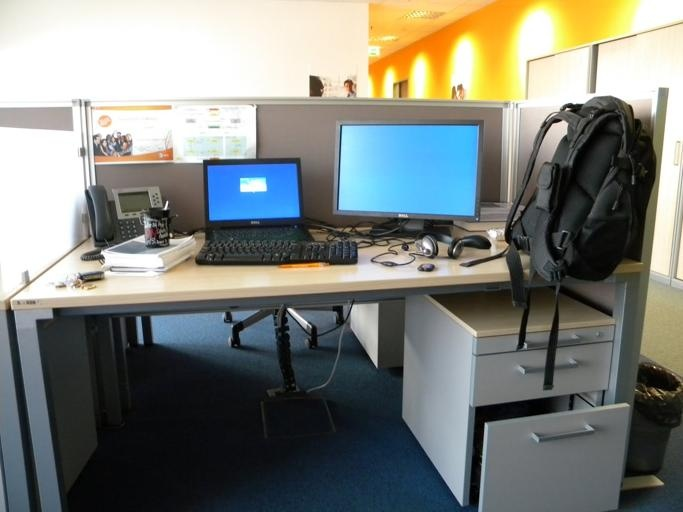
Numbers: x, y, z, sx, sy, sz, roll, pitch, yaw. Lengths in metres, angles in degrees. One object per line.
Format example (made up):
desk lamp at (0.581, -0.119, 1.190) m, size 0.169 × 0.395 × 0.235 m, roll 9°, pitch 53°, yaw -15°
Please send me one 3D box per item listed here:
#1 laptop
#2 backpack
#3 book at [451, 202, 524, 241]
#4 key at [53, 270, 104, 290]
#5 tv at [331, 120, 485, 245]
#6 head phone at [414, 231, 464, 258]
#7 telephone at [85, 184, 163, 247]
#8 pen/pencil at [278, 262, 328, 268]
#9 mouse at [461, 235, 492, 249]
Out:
laptop at (-0.341, -0.211, 2.299) m, size 0.461 × 0.311 × 0.371 m, roll -5°, pitch 26°, yaw -21°
backpack at (0.851, -0.225, 1.985) m, size 0.385 × 0.638 × 0.498 m, roll 9°, pitch 13°, yaw 2°
book at (0.665, -0.150, 2.503) m, size 0.209 × 0.089 × 0.240 m, roll -2°, pitch 21°, yaw 2°
key at (-0.874, 0.077, 1.840) m, size 0.165 × 0.036 × 0.104 m, roll -17°, pitch 21°, yaw -39°
tv at (0.280, -0.333, 2.359) m, size 0.636 × 0.491 × 0.286 m, roll 5°, pitch 20°, yaw 20°
head phone at (0.363, -0.047, 2.186) m, size 0.216 × 0.087 × 0.216 m, roll 6°, pitch 15°, yaw 3°
telephone at (-0.903, -0.176, 2.324) m, size 0.310 × 0.244 × 0.173 m, roll -12°, pitch 17°, yaw -38°
pen/pencil at (-0.147, 0.035, 1.993) m, size 0.179 × 0.022 × 0.021 m, roll -1°, pitch -1°, yaw -4°
mouse at (0.541, -0.073, 2.201) m, size 0.064 × 0.044 × 0.116 m, roll -10°, pitch 20°, yaw -36°
